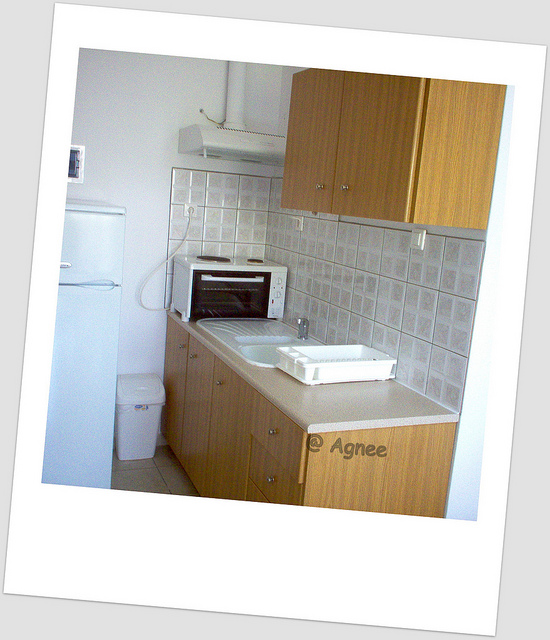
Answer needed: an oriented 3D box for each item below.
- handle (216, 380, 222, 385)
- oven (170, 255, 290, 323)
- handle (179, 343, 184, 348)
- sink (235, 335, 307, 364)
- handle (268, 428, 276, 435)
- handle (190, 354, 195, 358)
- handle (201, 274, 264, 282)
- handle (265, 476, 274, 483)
[{"bbox_3d":[-0.246,0.273,2.254,0.020,0.016,0.037,2,10,-6],"label":"handle"},{"bbox_3d":[-0.263,-0.166,2.923,0.651,0.351,0.344,3,8,-12],"label":"oven"},{"bbox_3d":[-0.509,0.140,2.799,0.029,0.019,0.021,6,7,4],"label":"handle"},{"bbox_3d":[-0.038,0.138,2.454,0.355,0.095,0.271,1,9,-24],"label":"sink"},{"bbox_3d":[-0.012,0.368,1.727,0.015,0.028,0.024,0,1,38],"label":"handle"},{"bbox_3d":[-0.422,0.186,2.630,0.020,0.016,0.014,1,4,-24],"label":"handle"},{"bbox_3d":[-0.224,-0.221,2.769,0.344,0.046,0.014,3,7,-18],"label":"handle"},{"bbox_3d":[-0.019,0.558,1.804,0.034,0.015,0.050,0,3,1],"label":"handle"}]
